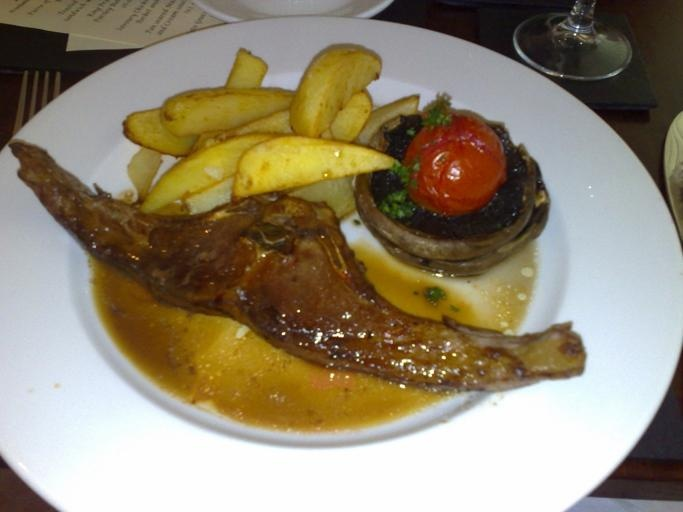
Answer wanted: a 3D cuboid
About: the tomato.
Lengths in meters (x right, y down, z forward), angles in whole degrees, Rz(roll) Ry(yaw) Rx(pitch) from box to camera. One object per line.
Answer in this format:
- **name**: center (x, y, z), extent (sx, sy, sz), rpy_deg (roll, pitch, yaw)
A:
- **tomato**: center (0.390, -0.299, 2.107), extent (0.331, 0.180, 0.328), rpy_deg (-6, 80, 1)
